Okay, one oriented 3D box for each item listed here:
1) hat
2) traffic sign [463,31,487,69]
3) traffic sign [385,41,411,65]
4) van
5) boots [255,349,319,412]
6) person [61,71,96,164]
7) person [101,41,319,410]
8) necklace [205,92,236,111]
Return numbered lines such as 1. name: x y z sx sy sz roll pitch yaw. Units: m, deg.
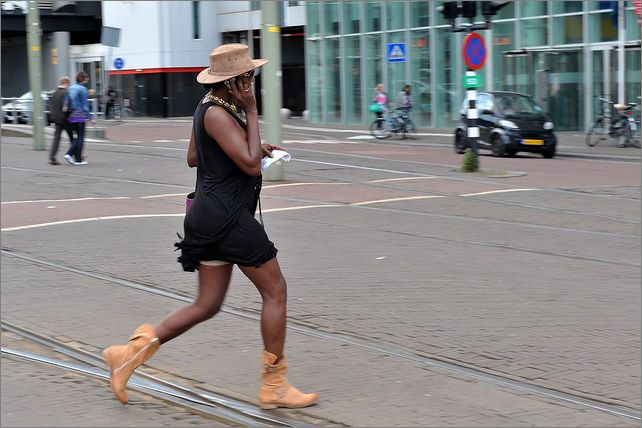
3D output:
1. hat: -0.571 -0.971 4.262 0.473 0.112 0.312 -14 17 0
2. traffic sign: 3.877 -4.174 16.620 0.455 0.976 0.906 13 19 32
3. traffic sign: 4.159 -8.788 35.320 1.068 1.049 1.430 3 13 4
4. van: 6.566 -2.991 21.785 1.834 2.126 2.060 -4 16 -21
5. boots: -0.164 1.119 4.348 0.522 0.326 0.234 -13 -14 39
6. person: -6.813 -2.682 18.189 0.751 2.559 1.170 -4 18 -18
7. person: -0.656 0.089 4.315 1.324 2.400 0.755 1 17 -2
8. necklace: -0.651 -0.739 4.301 0.224 0.035 0.133 15 3 -6
